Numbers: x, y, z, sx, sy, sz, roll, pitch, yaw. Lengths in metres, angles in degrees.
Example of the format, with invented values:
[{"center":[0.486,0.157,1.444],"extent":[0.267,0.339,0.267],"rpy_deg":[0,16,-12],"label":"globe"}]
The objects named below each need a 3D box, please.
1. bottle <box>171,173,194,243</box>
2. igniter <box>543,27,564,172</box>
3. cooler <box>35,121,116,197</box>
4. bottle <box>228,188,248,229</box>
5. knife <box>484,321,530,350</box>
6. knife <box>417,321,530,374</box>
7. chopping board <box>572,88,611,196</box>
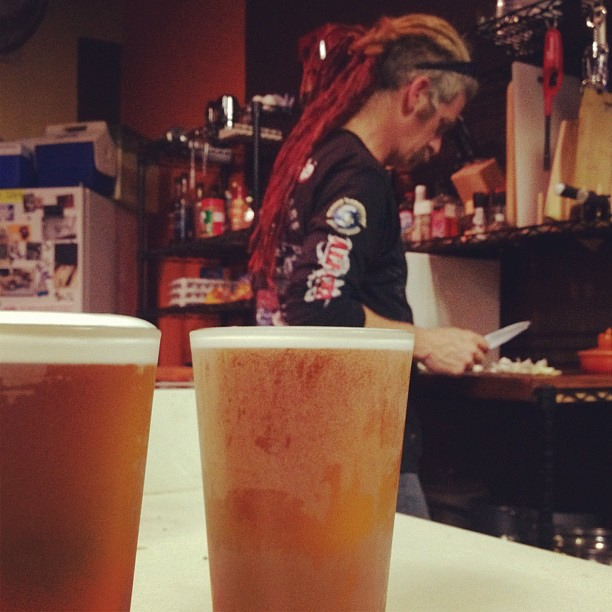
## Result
[{"center":[-0.506,-0.408,3.305],"extent":[0.062,0.297,0.259],"rpy_deg":[4,3,-16],"label":"bottle"},{"center":[0.535,-0.459,1.763],"extent":[0.046,0.247,0.084],"rpy_deg":[5,3,17],"label":"igniter"},{"center":[-0.881,-0.572,3.153],"extent":[0.218,0.300,0.304],"rpy_deg":[2,2,7],"label":"cooler"},{"center":[-0.265,-0.373,3.059],"extent":[0.078,0.166,0.277],"rpy_deg":[4,3,-7],"label":"bottle"},{"center":[0.490,0.076,1.948],"extent":[0.138,0.025,0.016],"rpy_deg":[-24,0,-12],"label":"knife"},{"center":[0.410,0.107,1.950],"extent":[0.283,0.043,0.045],"rpy_deg":[-19,-5,8],"label":"knife"},{"center":[0.604,-0.347,1.673],"extent":[0.062,0.186,0.087],"rpy_deg":[5,3,6],"label":"chopping board"}]
